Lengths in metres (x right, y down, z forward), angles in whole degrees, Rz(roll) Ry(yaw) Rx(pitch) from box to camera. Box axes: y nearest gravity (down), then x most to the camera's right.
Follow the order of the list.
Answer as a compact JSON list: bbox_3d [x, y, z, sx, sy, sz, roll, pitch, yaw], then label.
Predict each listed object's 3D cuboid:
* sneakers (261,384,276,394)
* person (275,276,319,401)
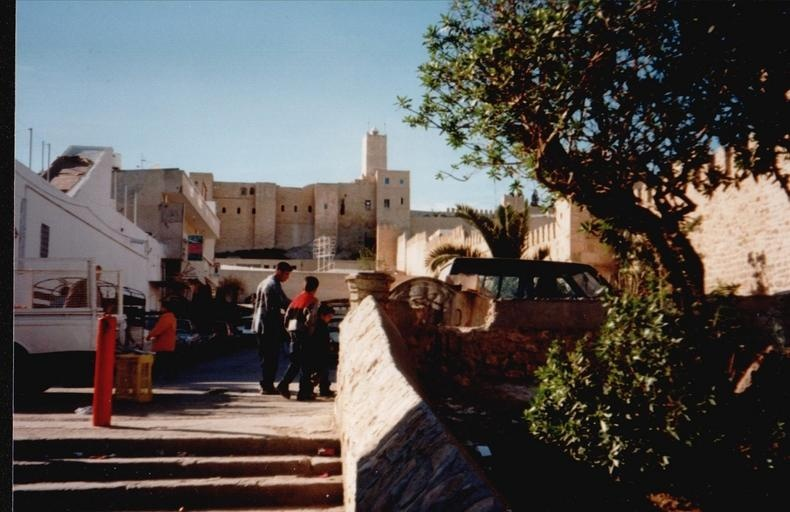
[{"bbox_3d":[-2.020,2.087,10.834,0.180,0.152,0.147,-3,-3,10],"label":"sneakers"},{"bbox_3d":[-1.507,1.231,10.546,0.608,1.880,0.988,0,-4,-9],"label":"person"}]
